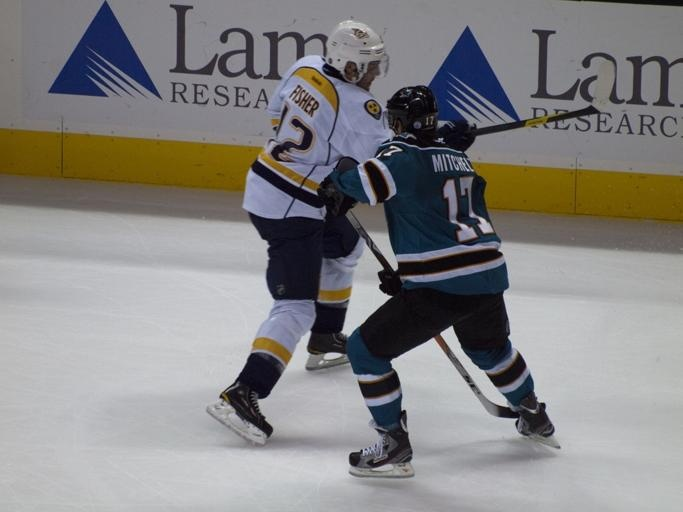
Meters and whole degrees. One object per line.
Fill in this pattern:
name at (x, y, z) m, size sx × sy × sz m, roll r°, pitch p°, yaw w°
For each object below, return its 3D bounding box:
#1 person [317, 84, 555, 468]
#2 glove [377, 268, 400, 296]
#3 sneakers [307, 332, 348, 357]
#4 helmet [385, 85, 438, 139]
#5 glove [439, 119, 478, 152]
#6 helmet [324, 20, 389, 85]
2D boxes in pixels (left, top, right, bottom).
person at (0.395, 0.088, 3.648) m, size 0.860 × 1.574 × 0.517 m, roll -1°, pitch 10°, yaw -26°
glove at (0.226, 0.111, 3.724) m, size 0.105 × 0.101 × 0.038 m, roll 23°, pitch 25°, yaw 12°
sneakers at (-0.065, 0.436, 4.280) m, size 0.261 × 0.105 × 0.083 m, roll -2°, pitch 9°, yaw -17°
helmet at (0.339, -0.617, 3.660) m, size 0.202 × 0.221 × 0.230 m, roll -9°, pitch 24°, yaw -26°
glove at (0.562, -0.556, 3.995) m, size 0.204 × 0.145 × 0.085 m, roll 10°, pitch -6°, yaw 11°
helmet at (0.060, -0.948, 4.008) m, size 0.313 × 0.277 × 0.239 m, roll 0°, pitch 43°, yaw -7°
